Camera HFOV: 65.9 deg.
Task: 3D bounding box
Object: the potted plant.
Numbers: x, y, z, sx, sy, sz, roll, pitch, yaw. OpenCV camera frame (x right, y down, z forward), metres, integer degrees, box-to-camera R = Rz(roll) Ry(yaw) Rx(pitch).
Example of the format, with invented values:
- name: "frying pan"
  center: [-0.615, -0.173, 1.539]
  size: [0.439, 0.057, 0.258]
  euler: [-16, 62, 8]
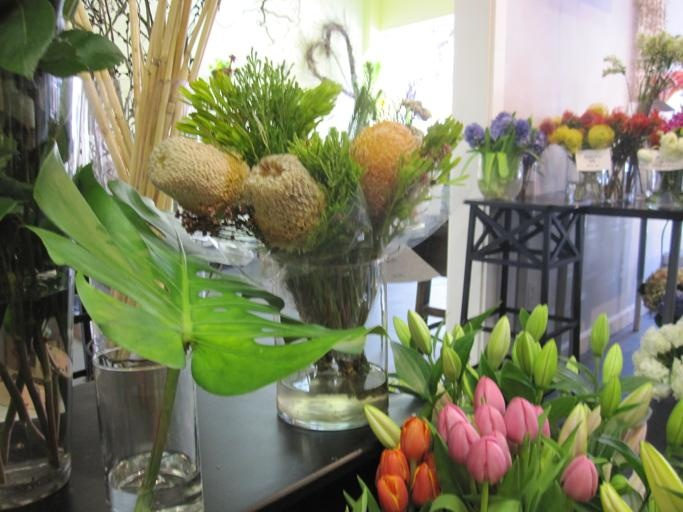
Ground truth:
- name: "potted plant"
  center: [-0.140, -0.016, 0.503]
  size: [0.298, 0.148, 0.318]
  euler: [25, 20, -6]
